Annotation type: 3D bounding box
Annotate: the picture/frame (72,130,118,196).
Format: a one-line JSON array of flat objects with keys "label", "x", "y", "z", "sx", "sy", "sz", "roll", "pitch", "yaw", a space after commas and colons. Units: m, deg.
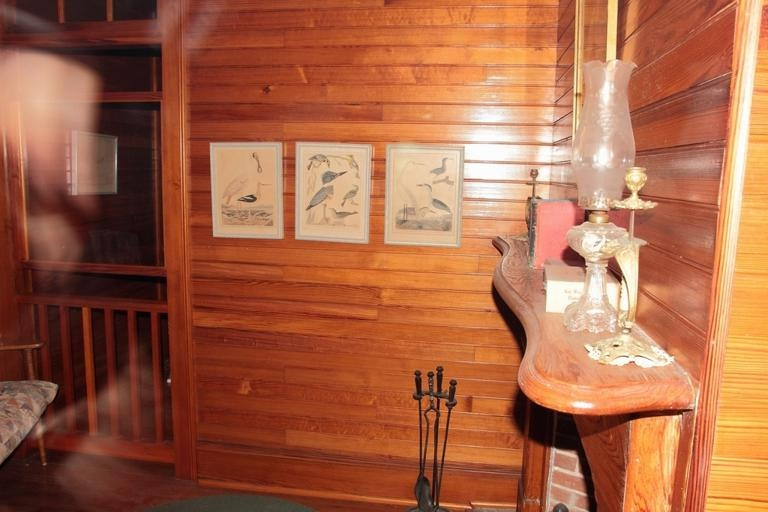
[{"label": "picture/frame", "x": -1.929, "y": -0.629, "z": 3.956, "sx": 0.446, "sy": 0.416, "sz": 0.059, "roll": 11, "pitch": 15, "yaw": 23}]
